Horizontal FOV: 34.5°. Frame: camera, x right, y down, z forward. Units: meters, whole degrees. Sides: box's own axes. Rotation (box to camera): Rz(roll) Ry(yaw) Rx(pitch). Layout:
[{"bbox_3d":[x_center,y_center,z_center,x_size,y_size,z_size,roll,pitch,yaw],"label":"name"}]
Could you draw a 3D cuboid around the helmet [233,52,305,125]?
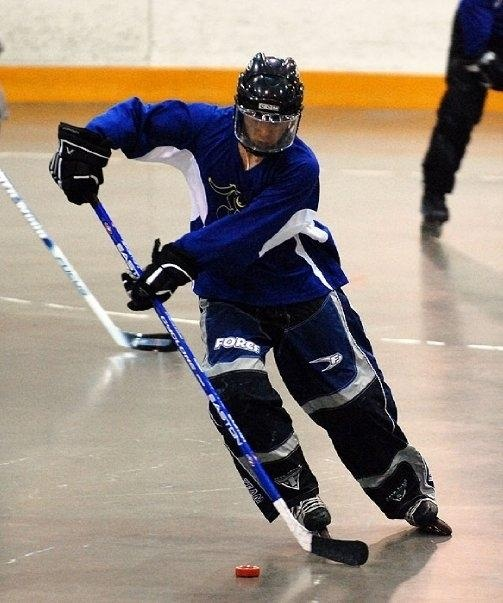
[{"bbox_3d":[0.044,-0.473,1.823,0.193,0.154,0.201,5,11,-3],"label":"helmet"}]
